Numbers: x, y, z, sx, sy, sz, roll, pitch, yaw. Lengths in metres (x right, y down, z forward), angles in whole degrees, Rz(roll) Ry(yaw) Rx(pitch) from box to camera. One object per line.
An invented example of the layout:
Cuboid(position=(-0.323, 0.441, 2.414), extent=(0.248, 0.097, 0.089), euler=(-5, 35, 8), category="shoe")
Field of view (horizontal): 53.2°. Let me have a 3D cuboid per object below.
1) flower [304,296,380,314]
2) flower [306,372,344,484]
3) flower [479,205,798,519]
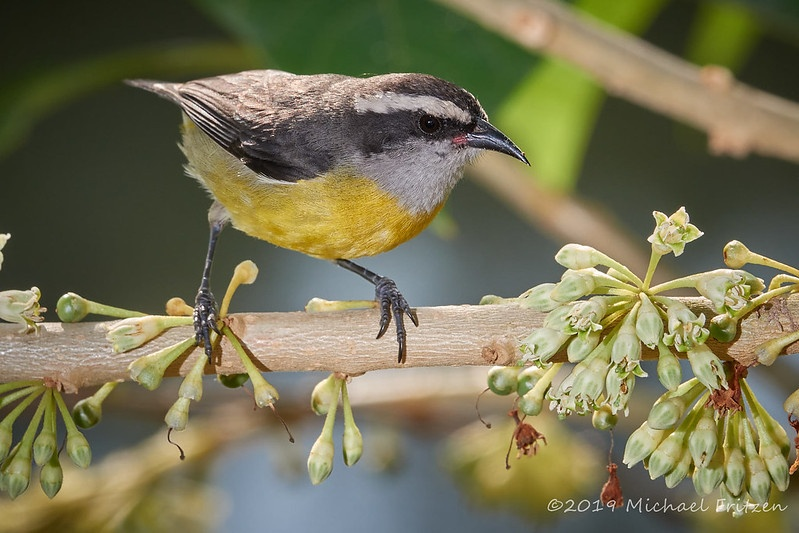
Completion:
Cuboid(position=(-0.142, 0.094, 1.998), extent=(0.178, 0.028, 0.061), euler=(-4, 7, -2), category="flower")
Cuboid(position=(-0.175, 0.410, 1.934), extent=(0.086, 0.298, 0.281), euler=(-3, 9, -5), category="flower")
Cuboid(position=(0.568, 0.168, 2.095), extent=(0.655, 0.417, 0.825), euler=(17, 15, -7), category="flower")
